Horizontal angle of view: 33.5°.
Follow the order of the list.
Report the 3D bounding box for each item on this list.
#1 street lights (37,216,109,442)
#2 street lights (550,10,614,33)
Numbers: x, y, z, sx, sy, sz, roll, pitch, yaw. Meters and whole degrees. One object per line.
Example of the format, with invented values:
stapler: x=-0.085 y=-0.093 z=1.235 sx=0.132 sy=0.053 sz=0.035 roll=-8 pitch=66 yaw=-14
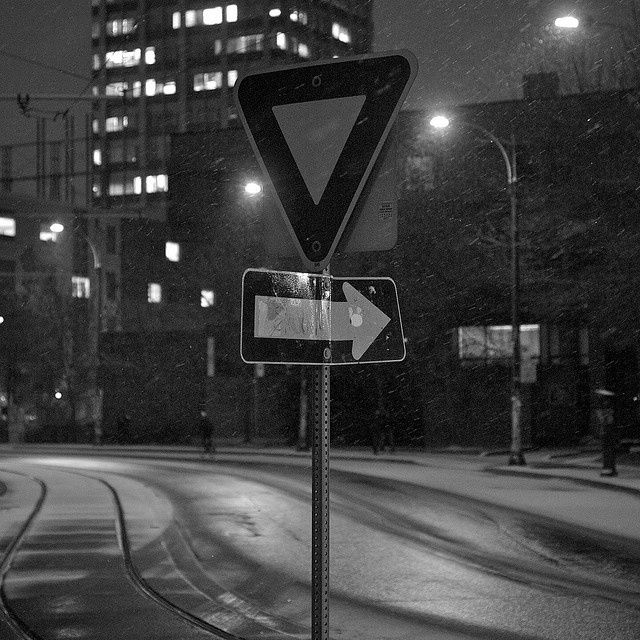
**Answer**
street lights: x=-3.188 y=0.191 z=14.110 sx=0.774 sy=3.198 sz=0.407 roll=0 pitch=14 yaw=-2
street lights: x=2.903 y=-3.272 z=11.699 sx=0.503 sy=0.198 sz=0.041 roll=3 pitch=27 yaw=12
